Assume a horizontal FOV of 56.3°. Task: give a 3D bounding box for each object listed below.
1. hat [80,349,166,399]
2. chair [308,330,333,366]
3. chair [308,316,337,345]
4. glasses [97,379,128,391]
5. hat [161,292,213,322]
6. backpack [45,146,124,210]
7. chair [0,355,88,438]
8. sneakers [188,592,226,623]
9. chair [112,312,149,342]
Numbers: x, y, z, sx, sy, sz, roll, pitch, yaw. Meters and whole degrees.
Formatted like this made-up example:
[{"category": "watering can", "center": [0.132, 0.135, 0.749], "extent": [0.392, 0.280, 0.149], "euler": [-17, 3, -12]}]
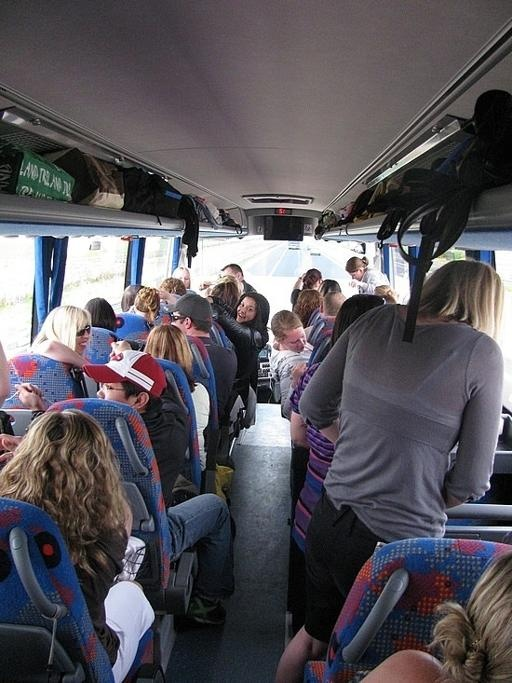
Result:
[{"category": "hat", "center": [-0.689, 0.178, 2.607], "extent": [0.392, 0.196, 0.231], "euler": [23, -1, -12]}, {"category": "chair", "center": [0.400, 0.053, 2.961], "extent": [0.147, 0.189, 0.206], "euler": [4, 11, 10]}, {"category": "chair", "center": [0.538, -0.096, 3.897], "extent": [0.113, 0.113, 0.326], "euler": [11, -17, -12]}, {"category": "glasses", "center": [-0.758, 0.232, 2.565], "extent": [0.093, 0.023, 0.092], "euler": [-1, -21, 6]}, {"category": "hat", "center": [-0.624, -0.330, 4.509], "extent": [0.346, 0.189, 0.240], "euler": [29, 23, 16]}, {"category": "backpack", "center": [-1.117, -1.127, 3.286], "extent": [0.444, 0.172, 0.560], "euler": [21, 20, -15]}, {"category": "chair", "center": [-1.225, 0.321, 3.118], "extent": [0.633, 0.487, 0.441], "euler": [-1, 2, -10]}, {"category": "sneakers", "center": [-0.286, 1.603, 2.880], "extent": [0.326, 0.132, 0.105], "euler": [12, -4, -13]}, {"category": "chair", "center": [-1.262, -0.130, 4.977], "extent": [0.329, 0.413, 0.419], "euler": [5, 10, 5]}]
